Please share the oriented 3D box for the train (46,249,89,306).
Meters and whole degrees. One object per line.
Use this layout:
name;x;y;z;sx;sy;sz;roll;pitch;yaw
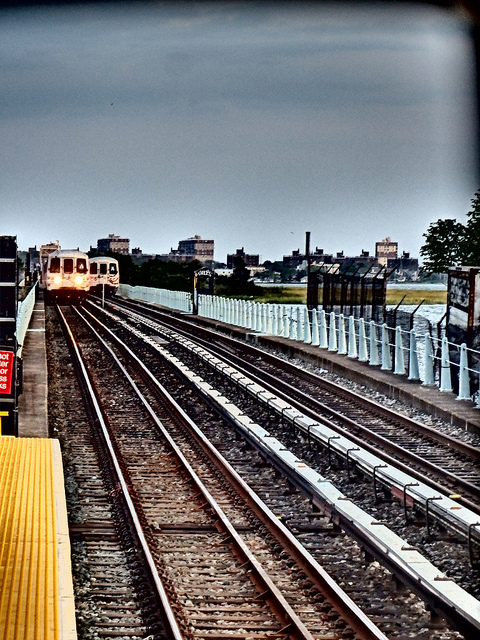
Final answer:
train;-15.116;-3.871;58.709;3.406;4.734;4.094;-3;8;-14
